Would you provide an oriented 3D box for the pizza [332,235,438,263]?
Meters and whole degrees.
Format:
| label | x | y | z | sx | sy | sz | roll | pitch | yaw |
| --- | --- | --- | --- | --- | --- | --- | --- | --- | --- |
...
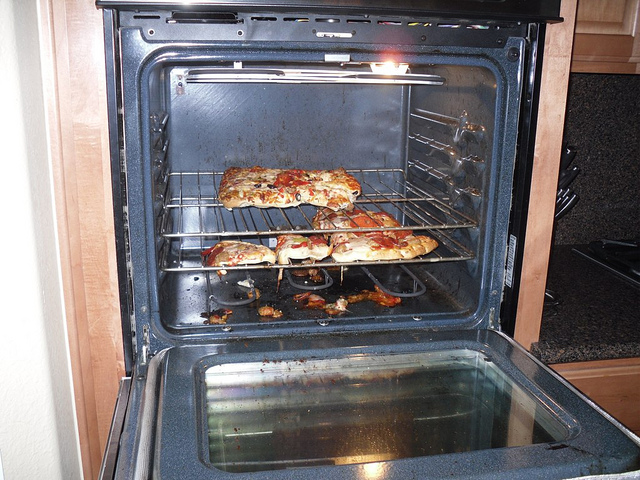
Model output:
| label | x | y | z | sx | sy | sz | roll | pitch | yaw |
| --- | --- | --- | --- | --- | --- | --- | --- | --- | --- |
| pizza | 0.209 | 0.023 | 1.640 | 0.213 | 0.037 | 0.131 | -5 | 10 | -11 |

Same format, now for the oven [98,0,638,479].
| label | x | y | z | sx | sy | sz | roll | pitch | yaw |
| --- | --- | --- | --- | --- | --- | --- | --- | --- | --- |
| oven | 0.082 | -0.046 | 1.534 | 1.072 | 1.158 | 1.339 | -2 | 17 | -12 |

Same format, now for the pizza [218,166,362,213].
| label | x | y | z | sx | sy | sz | roll | pitch | yaw |
| --- | --- | --- | --- | --- | --- | --- | --- | --- | --- |
| pizza | -0.097 | -0.175 | 1.765 | 0.289 | 0.052 | 0.233 | 0 | 24 | -4 |

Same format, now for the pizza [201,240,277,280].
| label | x | y | z | sx | sy | sz | roll | pitch | yaw |
| --- | --- | --- | --- | --- | --- | --- | --- | --- | --- |
| pizza | -0.267 | 0.044 | 1.719 | 0.228 | 0.074 | 0.245 | 2 | 17 | -7 |

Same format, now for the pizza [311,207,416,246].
| label | x | y | z | sx | sy | sz | roll | pitch | yaw |
| --- | --- | --- | --- | --- | --- | --- | --- | --- | --- |
| pizza | 0.163 | -0.075 | 1.854 | 0.311 | 0.065 | 0.330 | 0 | 29 | 41 |
